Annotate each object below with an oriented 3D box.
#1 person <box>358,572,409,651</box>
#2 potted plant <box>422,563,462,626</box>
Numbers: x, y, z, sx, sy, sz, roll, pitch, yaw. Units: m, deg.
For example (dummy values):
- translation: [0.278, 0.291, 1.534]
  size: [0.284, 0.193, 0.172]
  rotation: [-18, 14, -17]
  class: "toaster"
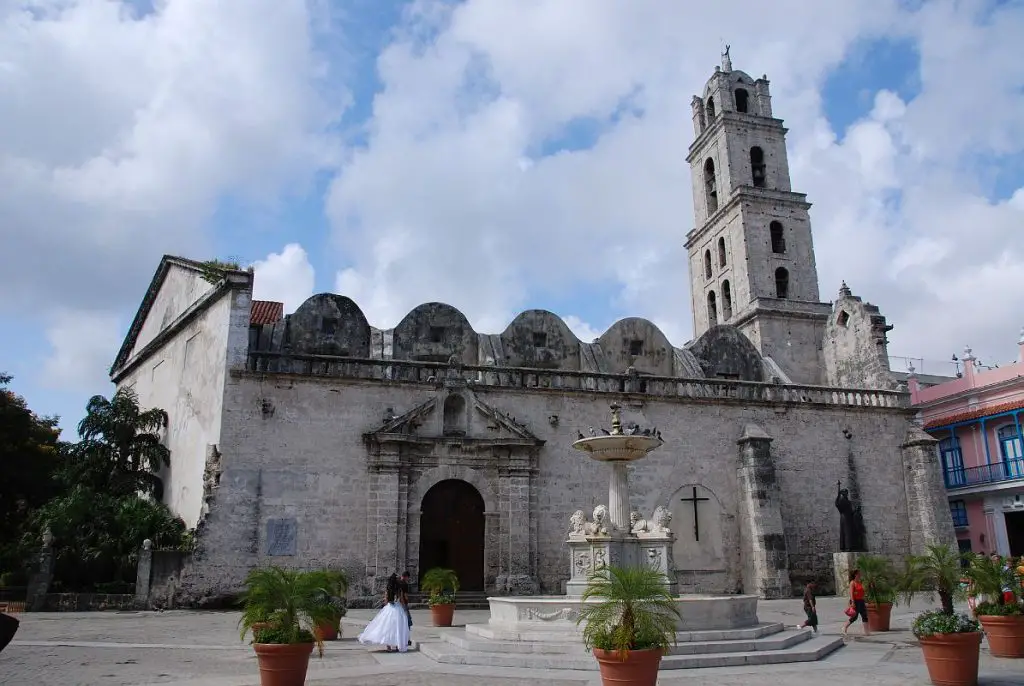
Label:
- translation: [-2.977, 6.358, 17.811]
  size: [1.248, 1.448, 1.019]
  rotation: [1, -7, 8]
  class: "person"
- translation: [-2.057, 7.103, 20.840]
  size: [0.871, 1.611, 1.208]
  rotation: [1, -21, -7]
  class: "potted plant"
